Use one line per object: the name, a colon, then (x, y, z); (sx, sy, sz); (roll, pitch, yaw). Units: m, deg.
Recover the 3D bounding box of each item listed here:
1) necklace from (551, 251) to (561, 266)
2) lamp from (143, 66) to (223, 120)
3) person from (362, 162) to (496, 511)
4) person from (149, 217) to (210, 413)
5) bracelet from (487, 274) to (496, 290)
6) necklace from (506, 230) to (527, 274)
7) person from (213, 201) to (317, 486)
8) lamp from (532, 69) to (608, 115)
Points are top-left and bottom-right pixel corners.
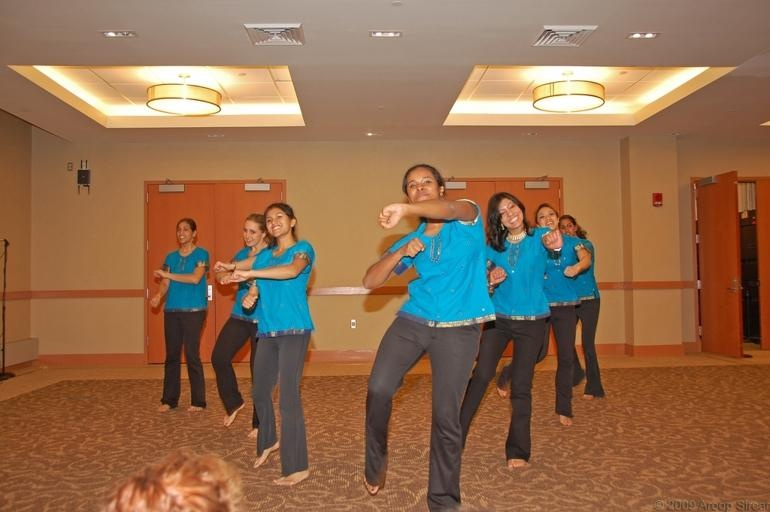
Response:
necklace: (2.018, 0.019, 6.387); (0.147, 0.171, 0.159); (3, 4, 2)
lamp: (-3.306, -2.736, 8.953); (1.424, 0.589, 1.374); (4, 4, -17)
person: (0.408, 0.730, 4.954); (1.192, 3.213, 0.763); (-1, 1, -2)
person: (-2.790, 0.790, 7.444); (0.663, 2.307, 0.537); (-1, 1, 4)
bracelet: (1.133, 0.276, 5.745); (0.043, 0.116, 0.098); (5, -4, -40)
necklace: (1.391, -0.053, 5.824); (0.100, 0.383, 0.316); (1, -12, -25)
person: (-1.146, 0.883, 5.689); (0.701, 2.236, 0.700); (-1, 1, 38)
lamp: (3.003, -2.736, 8.778); (1.071, 0.485, 1.053); (4, 3, 28)
